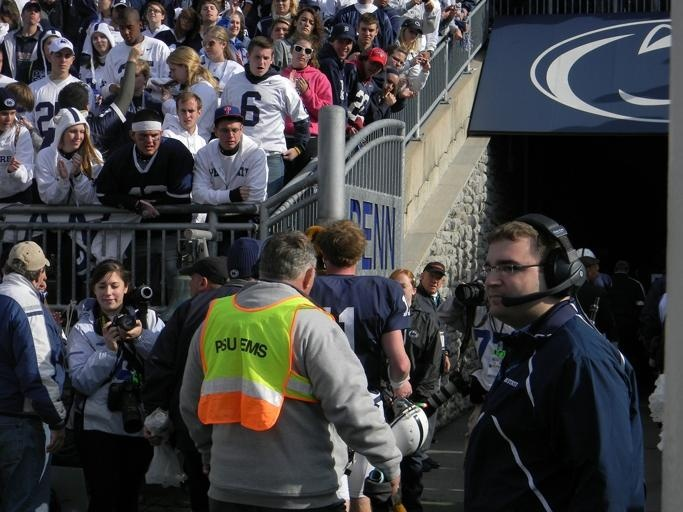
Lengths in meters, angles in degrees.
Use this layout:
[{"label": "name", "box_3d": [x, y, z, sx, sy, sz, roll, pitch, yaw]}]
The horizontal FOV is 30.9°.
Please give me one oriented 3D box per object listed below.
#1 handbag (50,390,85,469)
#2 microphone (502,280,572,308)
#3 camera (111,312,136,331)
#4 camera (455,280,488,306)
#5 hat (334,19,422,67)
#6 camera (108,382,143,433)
[{"label": "handbag", "box_3d": [-2.391, 1.497, 10.821, 0.333, 0.770, 0.371, 7, 9, 33]}, {"label": "microphone", "box_3d": [1.374, 0.277, 8.558, 0.261, 0.096, 0.235, -14, -4, -1]}, {"label": "camera", "box_3d": [-1.874, 0.577, 10.656, 0.227, 0.152, 0.133, 2, -1, 25]}, {"label": "camera", "box_3d": [1.168, 0.337, 11.084, 0.267, 0.186, 0.406, 3, -1, 6]}, {"label": "hat", "box_3d": [0.562, -2.671, 15.324, 0.429, 0.573, 0.921, -9, 18, -27]}, {"label": "camera", "box_3d": [-1.850, 1.316, 10.624, 0.306, 0.434, 0.200, 2, -1, -12]}]
